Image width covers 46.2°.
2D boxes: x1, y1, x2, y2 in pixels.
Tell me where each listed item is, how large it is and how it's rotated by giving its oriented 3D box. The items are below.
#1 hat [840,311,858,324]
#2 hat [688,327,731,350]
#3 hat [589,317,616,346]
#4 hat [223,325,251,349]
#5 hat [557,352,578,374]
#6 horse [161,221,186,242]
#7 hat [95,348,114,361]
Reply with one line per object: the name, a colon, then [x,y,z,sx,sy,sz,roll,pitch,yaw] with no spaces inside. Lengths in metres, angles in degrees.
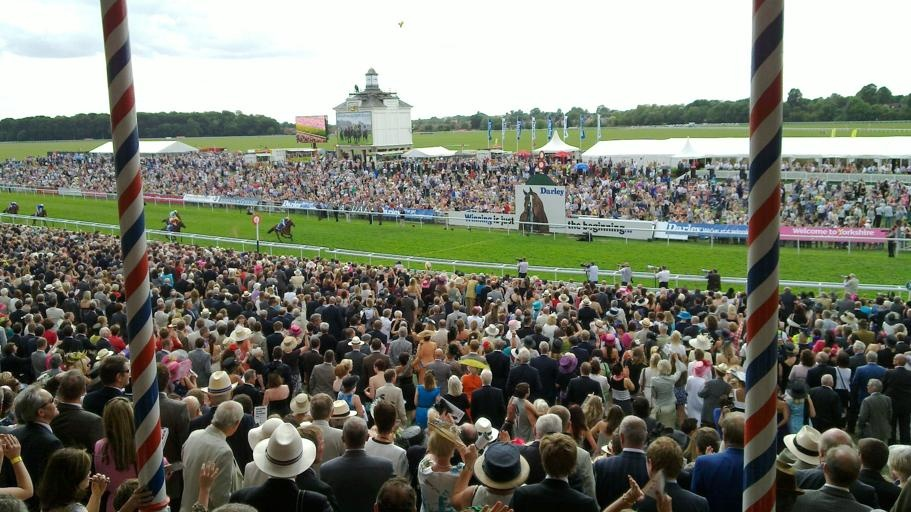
hat: [12.527,1.986,34.038,0.411,0.121,0.402,-18,33,-17]
hat: [7.604,2.582,32.330,0.844,0.228,0.835,-15,19,7]
hat: [4.547,2.318,32.761,0.672,0.750,0.289,-20,-20,-12]
hat: [-6.533,2.397,31.943,0.669,0.251,0.542,-23,44,-24]
hat: [3.289,3.147,31.190,0.532,0.563,0.220,-9,-27,40]
horse: [-13.792,-1.234,52.102,1.058,0.814,1.684,0,-3,-20]
hat: [-9.984,2.811,30.273,0.354,0.116,0.396,3,16,29]
